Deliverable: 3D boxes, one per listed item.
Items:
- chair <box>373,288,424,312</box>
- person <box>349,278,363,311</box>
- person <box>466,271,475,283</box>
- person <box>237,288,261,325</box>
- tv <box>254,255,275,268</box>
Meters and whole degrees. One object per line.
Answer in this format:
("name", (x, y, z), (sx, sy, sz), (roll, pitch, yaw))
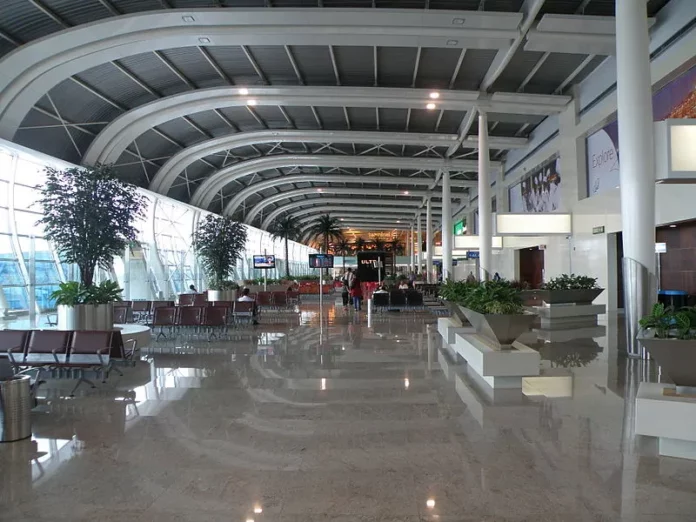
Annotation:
("chair", (2.245, 1.830, 21.933), (2.173, 1.003, 1.502), (-1, 2, 3))
("person", (0.391, 1.522, 22.979), (0.507, 1.612, 1.305), (-1, 3, 0))
("person", (6.015, 0.757, 23.369), (0.241, 0.741, 0.371), (-10, 14, -26))
("person", (-3.797, 1.801, 18.510), (1.118, 1.548, 0.938), (-2, -8, 0))
("tv", (-4.922, 0.047, 28.548), (1.215, 0.726, 0.907), (-1, 2, 6))
